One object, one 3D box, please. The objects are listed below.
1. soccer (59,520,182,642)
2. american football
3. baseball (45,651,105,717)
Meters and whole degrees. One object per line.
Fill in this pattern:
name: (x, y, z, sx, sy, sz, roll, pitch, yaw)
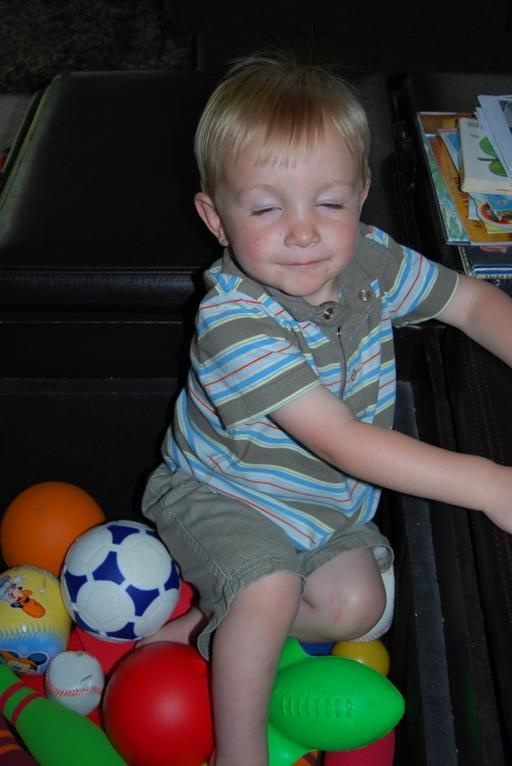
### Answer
soccer: (-0.200, 0.299, 0.881, 0.135, 0.101, 0.213, -19, 43, -26)
american football: (0.102, 0.396, 0.727, 0.151, 0.051, 0.104, -1, 76, 14)
baseball: (-0.251, 0.420, 0.863, 0.085, 0.090, 0.089, 5, 3, -4)
